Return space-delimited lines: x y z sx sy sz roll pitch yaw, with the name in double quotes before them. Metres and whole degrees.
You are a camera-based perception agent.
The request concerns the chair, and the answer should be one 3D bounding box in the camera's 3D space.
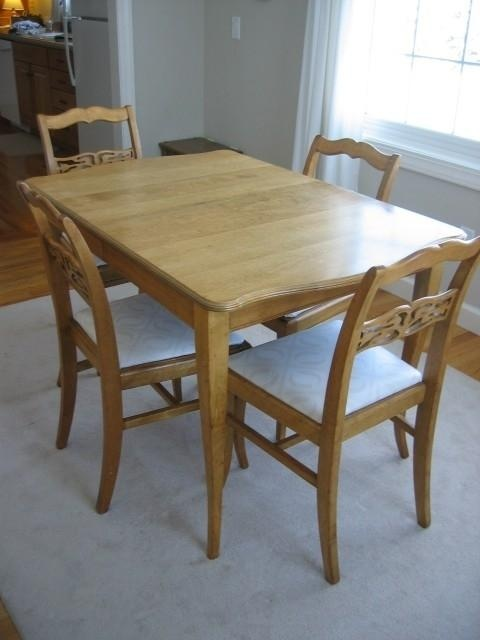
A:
"chair" -0.063 0.016 1.506 0.938 0.808 1.274 -10 30 -27
